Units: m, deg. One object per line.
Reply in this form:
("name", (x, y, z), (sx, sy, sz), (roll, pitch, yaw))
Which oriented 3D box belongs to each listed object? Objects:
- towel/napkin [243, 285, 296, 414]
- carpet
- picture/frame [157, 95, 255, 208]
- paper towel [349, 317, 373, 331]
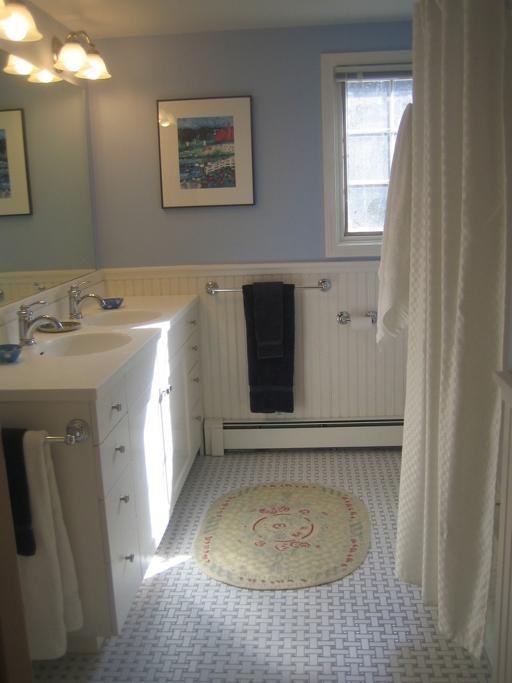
("towel/napkin", (0.076, 0.035, 2.870), (0.285, 0.781, 0.158), (1, 25, 5))
("carpet", (0.113, 0.767, 2.180), (0.715, 0.025, 0.819), (-2, 8, 8))
("picture/frame", (-0.250, -1.010, 2.743), (0.488, 0.569, 0.011), (0, 16, 8))
("paper towel", (0.556, -0.099, 2.779), (0.103, 0.081, 0.062), (2, 13, 15))
